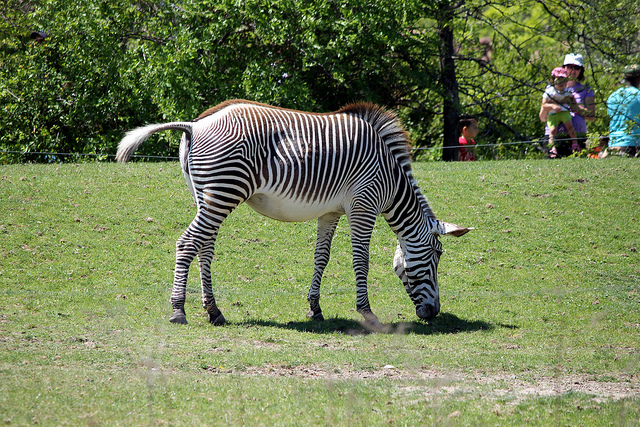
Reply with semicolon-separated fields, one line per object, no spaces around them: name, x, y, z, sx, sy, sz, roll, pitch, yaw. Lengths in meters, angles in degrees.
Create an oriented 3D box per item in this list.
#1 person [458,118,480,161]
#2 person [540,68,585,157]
person;4.017;-2.009;25.599;0.409;1.143;0.774;2;44;13
person;6.276;-2.616;24.470;1.049;2.296;1.417;1;2;13
